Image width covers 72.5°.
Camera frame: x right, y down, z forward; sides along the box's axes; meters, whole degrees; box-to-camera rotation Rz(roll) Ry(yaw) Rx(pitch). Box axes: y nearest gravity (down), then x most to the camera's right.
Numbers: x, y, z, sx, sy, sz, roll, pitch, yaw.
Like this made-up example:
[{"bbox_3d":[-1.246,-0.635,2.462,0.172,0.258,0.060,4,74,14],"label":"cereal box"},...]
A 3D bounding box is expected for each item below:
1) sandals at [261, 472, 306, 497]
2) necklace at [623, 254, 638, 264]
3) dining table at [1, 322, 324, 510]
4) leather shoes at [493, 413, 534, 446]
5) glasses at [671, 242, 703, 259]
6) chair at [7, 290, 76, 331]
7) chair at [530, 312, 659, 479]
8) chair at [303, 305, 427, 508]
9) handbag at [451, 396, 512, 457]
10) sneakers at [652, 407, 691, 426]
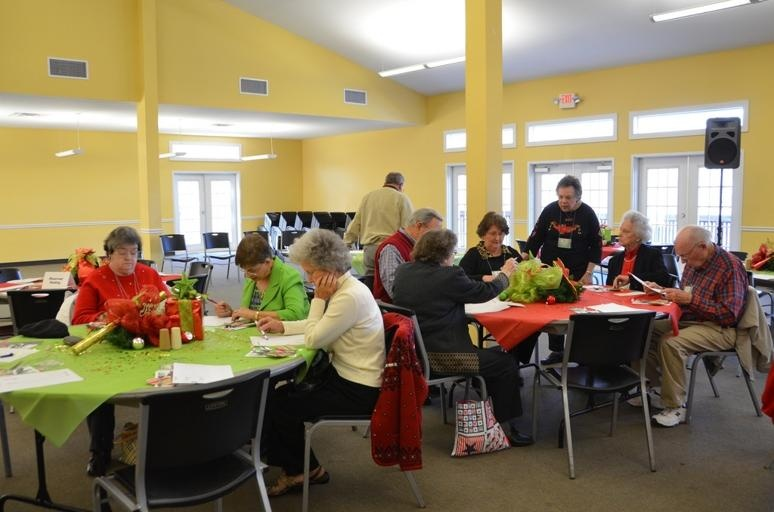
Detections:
[{"bbox_3d":[-0.623,1.480,3.455,0.360,0.129,0.127,0,3,-28],"label":"sandals"},{"bbox_3d":[2.218,0.033,4.810,0.105,0.058,0.076,0,-7,-43],"label":"necklace"},{"bbox_3d":[-1.393,0.675,3.082,1.257,0.609,1.264,1,-1,7],"label":"dining table"},{"bbox_3d":[0.963,1.350,4.064,0.147,0.221,0.326,-11,-8,-27],"label":"leather shoes"},{"bbox_3d":[2.375,-0.035,4.220,0.148,0.078,0.117,-21,0,-1],"label":"glasses"},{"bbox_3d":[-2.894,0.346,4.425,0.473,0.352,0.466,0,6,-25],"label":"chair"},{"bbox_3d":[1.472,0.912,3.716,0.773,1.116,0.458,-3,6,-5],"label":"chair"},{"bbox_3d":[0.038,0.977,3.839,1.050,1.595,1.115,1,-6,-2],"label":"chair"},{"bbox_3d":[0.692,1.252,3.815,0.438,0.323,0.085,-2,0,-17],"label":"handbag"},{"bbox_3d":[2.241,1.259,4.179,0.344,0.147,0.130,2,-2,-21],"label":"sneakers"}]
